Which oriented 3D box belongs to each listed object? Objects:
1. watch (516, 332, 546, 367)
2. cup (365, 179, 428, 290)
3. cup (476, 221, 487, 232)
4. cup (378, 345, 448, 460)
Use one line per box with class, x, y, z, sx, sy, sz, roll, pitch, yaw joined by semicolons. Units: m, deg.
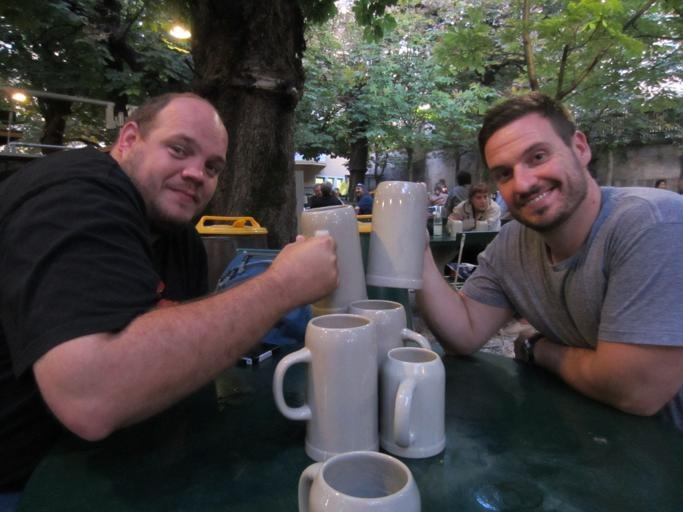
watch;0.697;0.353;1.801;0.084;0.089;0.110;-4;-2;-10
cup;0.166;-0.042;1.571;0.203;0.359;0.207;6;-16;2
cup;1.703;-0.347;5.963;0.134;0.138;0.137;-1;1;0
cup;0.181;0.364;1.164;0.152;0.228;0.121;-3;8;-16
